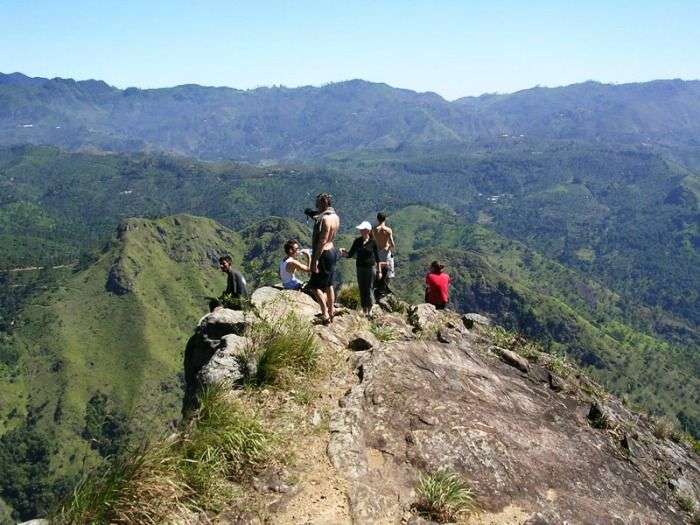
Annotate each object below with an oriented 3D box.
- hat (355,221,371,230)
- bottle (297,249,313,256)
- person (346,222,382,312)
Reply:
[{"bbox_3d":[0.600,-1.416,22.168,0.362,0.283,0.508,3,-5,43],"label":"hat"},{"bbox_3d":[-1.674,-0.394,21.209,0.577,0.259,0.200,-7,8,-6],"label":"bottle"},{"bbox_3d":[0.586,0.224,22.880,1.071,3.981,1.023,8,18,23],"label":"person"}]
